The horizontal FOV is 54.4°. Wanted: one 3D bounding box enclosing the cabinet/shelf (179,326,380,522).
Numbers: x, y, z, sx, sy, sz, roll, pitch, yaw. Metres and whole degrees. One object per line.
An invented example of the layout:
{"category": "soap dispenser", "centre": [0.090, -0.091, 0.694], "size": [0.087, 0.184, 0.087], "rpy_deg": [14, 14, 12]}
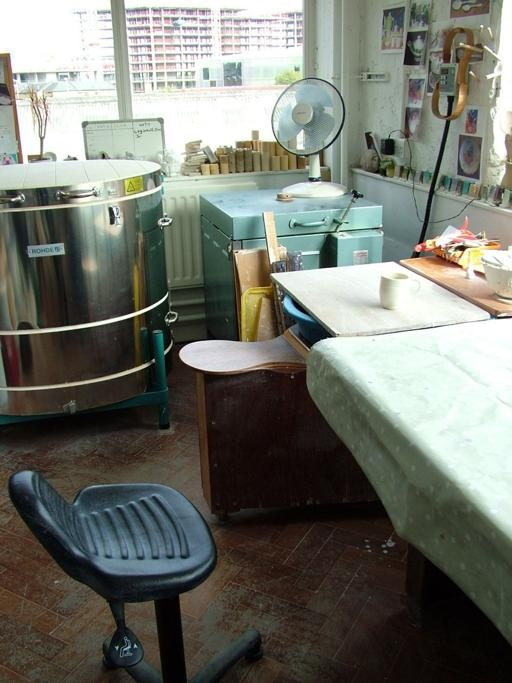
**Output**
{"category": "cabinet/shelf", "centre": [0.071, 0.232, 2.086], "size": [0.792, 0.736, 0.522], "rpy_deg": [-5, 24, -9]}

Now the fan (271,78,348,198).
{"category": "fan", "centre": [0.345, -1.200, 2.956], "size": [0.419, 0.664, 0.395], "rpy_deg": [6, 18, 39]}

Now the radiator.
{"category": "radiator", "centre": [-0.285, -0.692, 3.143], "size": [0.835, 0.871, 0.059], "rpy_deg": [-6, 22, -17]}
